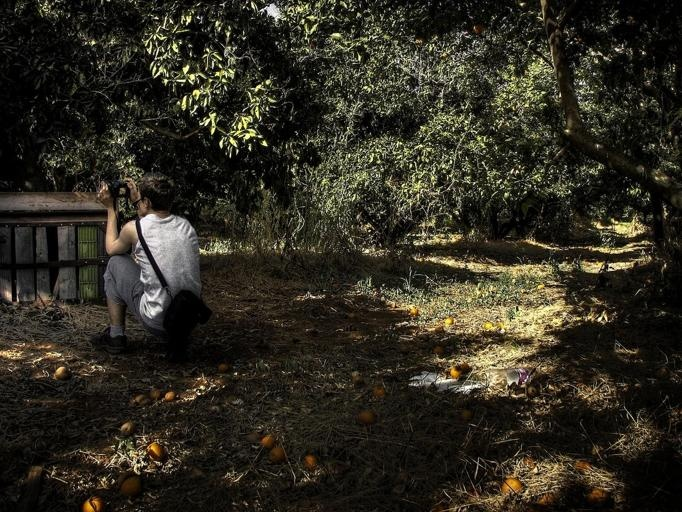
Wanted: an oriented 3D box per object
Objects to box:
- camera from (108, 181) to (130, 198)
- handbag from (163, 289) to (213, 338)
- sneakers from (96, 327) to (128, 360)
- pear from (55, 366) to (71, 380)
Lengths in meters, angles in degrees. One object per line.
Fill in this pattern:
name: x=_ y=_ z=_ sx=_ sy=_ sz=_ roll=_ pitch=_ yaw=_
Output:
camera: x=-2.196 y=-0.652 z=5.643 sx=0.148 sy=0.191 sz=0.261 roll=-3 pitch=7 yaw=21
handbag: x=-1.504 y=0.559 z=5.531 sx=0.363 sy=0.262 sz=0.372 roll=-37 pitch=10 yaw=30
sneakers: x=-2.235 y=0.830 z=5.554 sx=0.404 sy=0.193 sz=0.168 roll=14 pitch=11 yaw=30
pear: x=-2.409 y=0.989 z=4.935 sx=0.104 sy=0.085 sz=0.107 roll=1 pitch=12 yaw=-9
